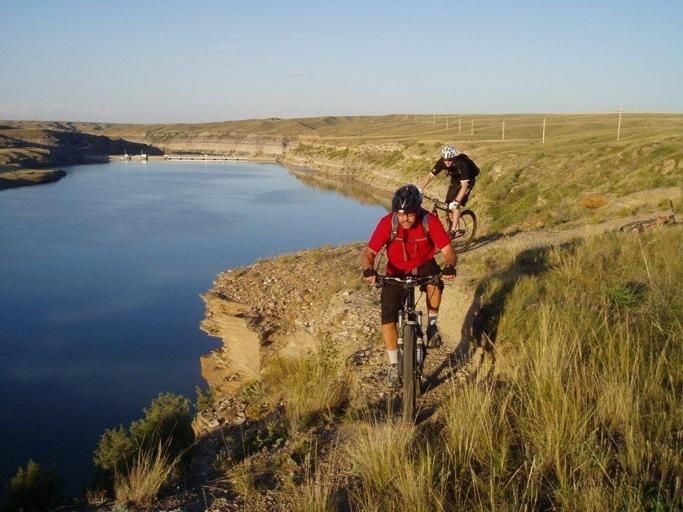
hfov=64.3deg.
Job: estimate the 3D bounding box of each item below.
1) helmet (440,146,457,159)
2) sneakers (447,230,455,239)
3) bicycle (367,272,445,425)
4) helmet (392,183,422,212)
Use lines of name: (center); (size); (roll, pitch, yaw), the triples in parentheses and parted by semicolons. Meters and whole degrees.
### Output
helmet: (2.402, -2.349, 12.201); (0.241, 0.396, 0.321); (1, 4, 5)
sneakers: (2.643, -0.553, 13.266); (0.133, 0.183, 0.419); (-1, 6, 6)
bicycle: (0.971, 1.233, 7.861); (0.746, 2.052, 1.024); (7, 15, 26)
helmet: (0.931, -0.821, 7.708); (0.420, 0.398, 0.344); (0, 14, -2)
